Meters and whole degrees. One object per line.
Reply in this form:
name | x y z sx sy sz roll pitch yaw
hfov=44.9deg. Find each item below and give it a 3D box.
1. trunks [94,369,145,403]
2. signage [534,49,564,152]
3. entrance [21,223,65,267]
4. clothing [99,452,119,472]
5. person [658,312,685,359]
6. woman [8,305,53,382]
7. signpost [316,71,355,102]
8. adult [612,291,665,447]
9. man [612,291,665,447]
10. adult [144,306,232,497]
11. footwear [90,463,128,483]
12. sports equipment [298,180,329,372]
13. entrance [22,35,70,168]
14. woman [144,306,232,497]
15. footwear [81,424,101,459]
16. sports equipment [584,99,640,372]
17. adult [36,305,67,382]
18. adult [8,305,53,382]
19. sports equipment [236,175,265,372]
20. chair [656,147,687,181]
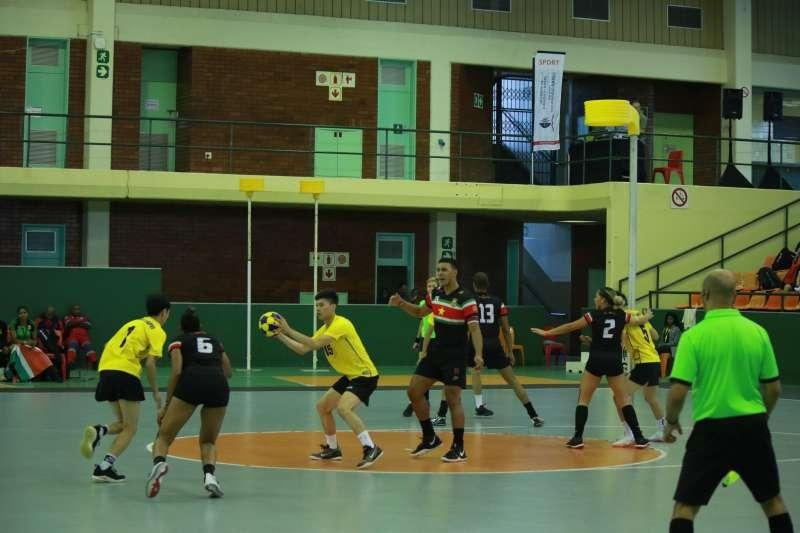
trunks | -4.124 1.788 14.686 0.689 0.551 0.464 2 7 13
signage | 4.140 -4.634 27.105 0.884 2.672 0.110 9 18 27
entrance | -10.536 -0.657 28.663 1.180 1.469 0.145 1 -3 -20
clothing | -4.369 2.924 14.573 0.228 0.279 0.340 0 -1 -22
person | 7.134 1.871 25.870 0.613 1.494 0.441 13 32 24
woman | -9.038 1.968 23.875 1.101 2.147 1.164 6 -33 -36
signpost | -2.022 -5.642 30.098 0.893 0.693 0.033 1 -5 -18
adult | 4.156 1.857 17.381 1.035 2.766 1.041 -7 -17 19
man | 4.453 2.036 18.172 1.300 3.236 1.221 -4 -28 14
adult | -2.979 1.976 13.969 1.101 2.716 0.569 0 -1 -10
footwear | -4.343 3.125 14.620 0.518 0.265 0.213 4 -2 -11
sports equipment | -2.433 0.321 27.278 0.779 5.688 0.750 1 11 0
entrance | -10.482 -4.862 28.824 1.067 3.962 0.325 -1 28 -26
woman | -2.976 1.976 13.978 1.108 2.716 0.556 0 -1 -12
footwear | -4.568 2.591 14.437 0.216 0.559 0.241 15 -2 29
sports equipment | 4.651 -1.360 20.668 1.231 4.277 0.705 2 -1 -32
adult | -8.703 1.916 24.388 0.708 2.298 0.842 -1 -30 -23
adult | -9.030 1.897 23.775 0.950 1.815 0.984 0 -1 -24
sports equipment | -4.047 0.129 26.039 0.693 5.232 0.687 5 -12 -29
chair | 8.260 -3.013 29.754 1.080 1.159 1.151 3 8 22
